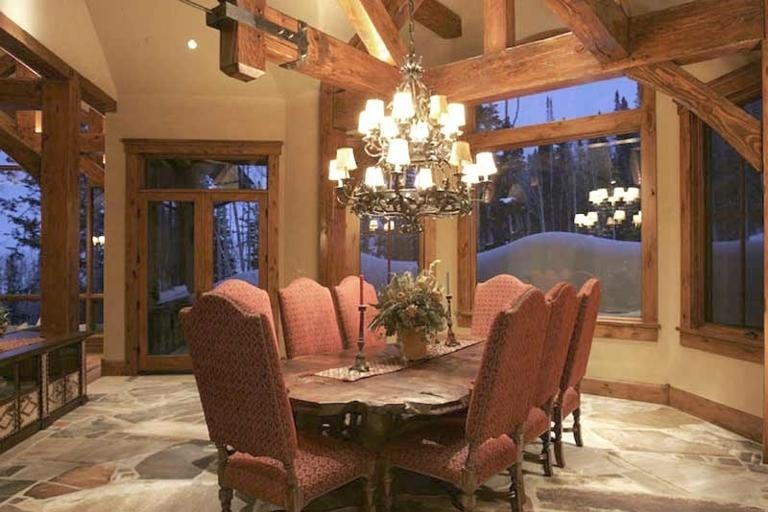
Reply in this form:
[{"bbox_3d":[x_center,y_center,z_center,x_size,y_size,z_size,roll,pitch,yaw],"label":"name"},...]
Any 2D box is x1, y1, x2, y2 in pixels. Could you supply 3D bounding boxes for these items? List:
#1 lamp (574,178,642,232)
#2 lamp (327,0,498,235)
[{"bbox_3d":[2.780,-0.624,7.373,0.594,0.753,0.592,1,0,6],"label":"lamp"},{"bbox_3d":[0.365,-1.622,6.180,1.506,1.866,2.212,-2,0,10],"label":"lamp"}]
